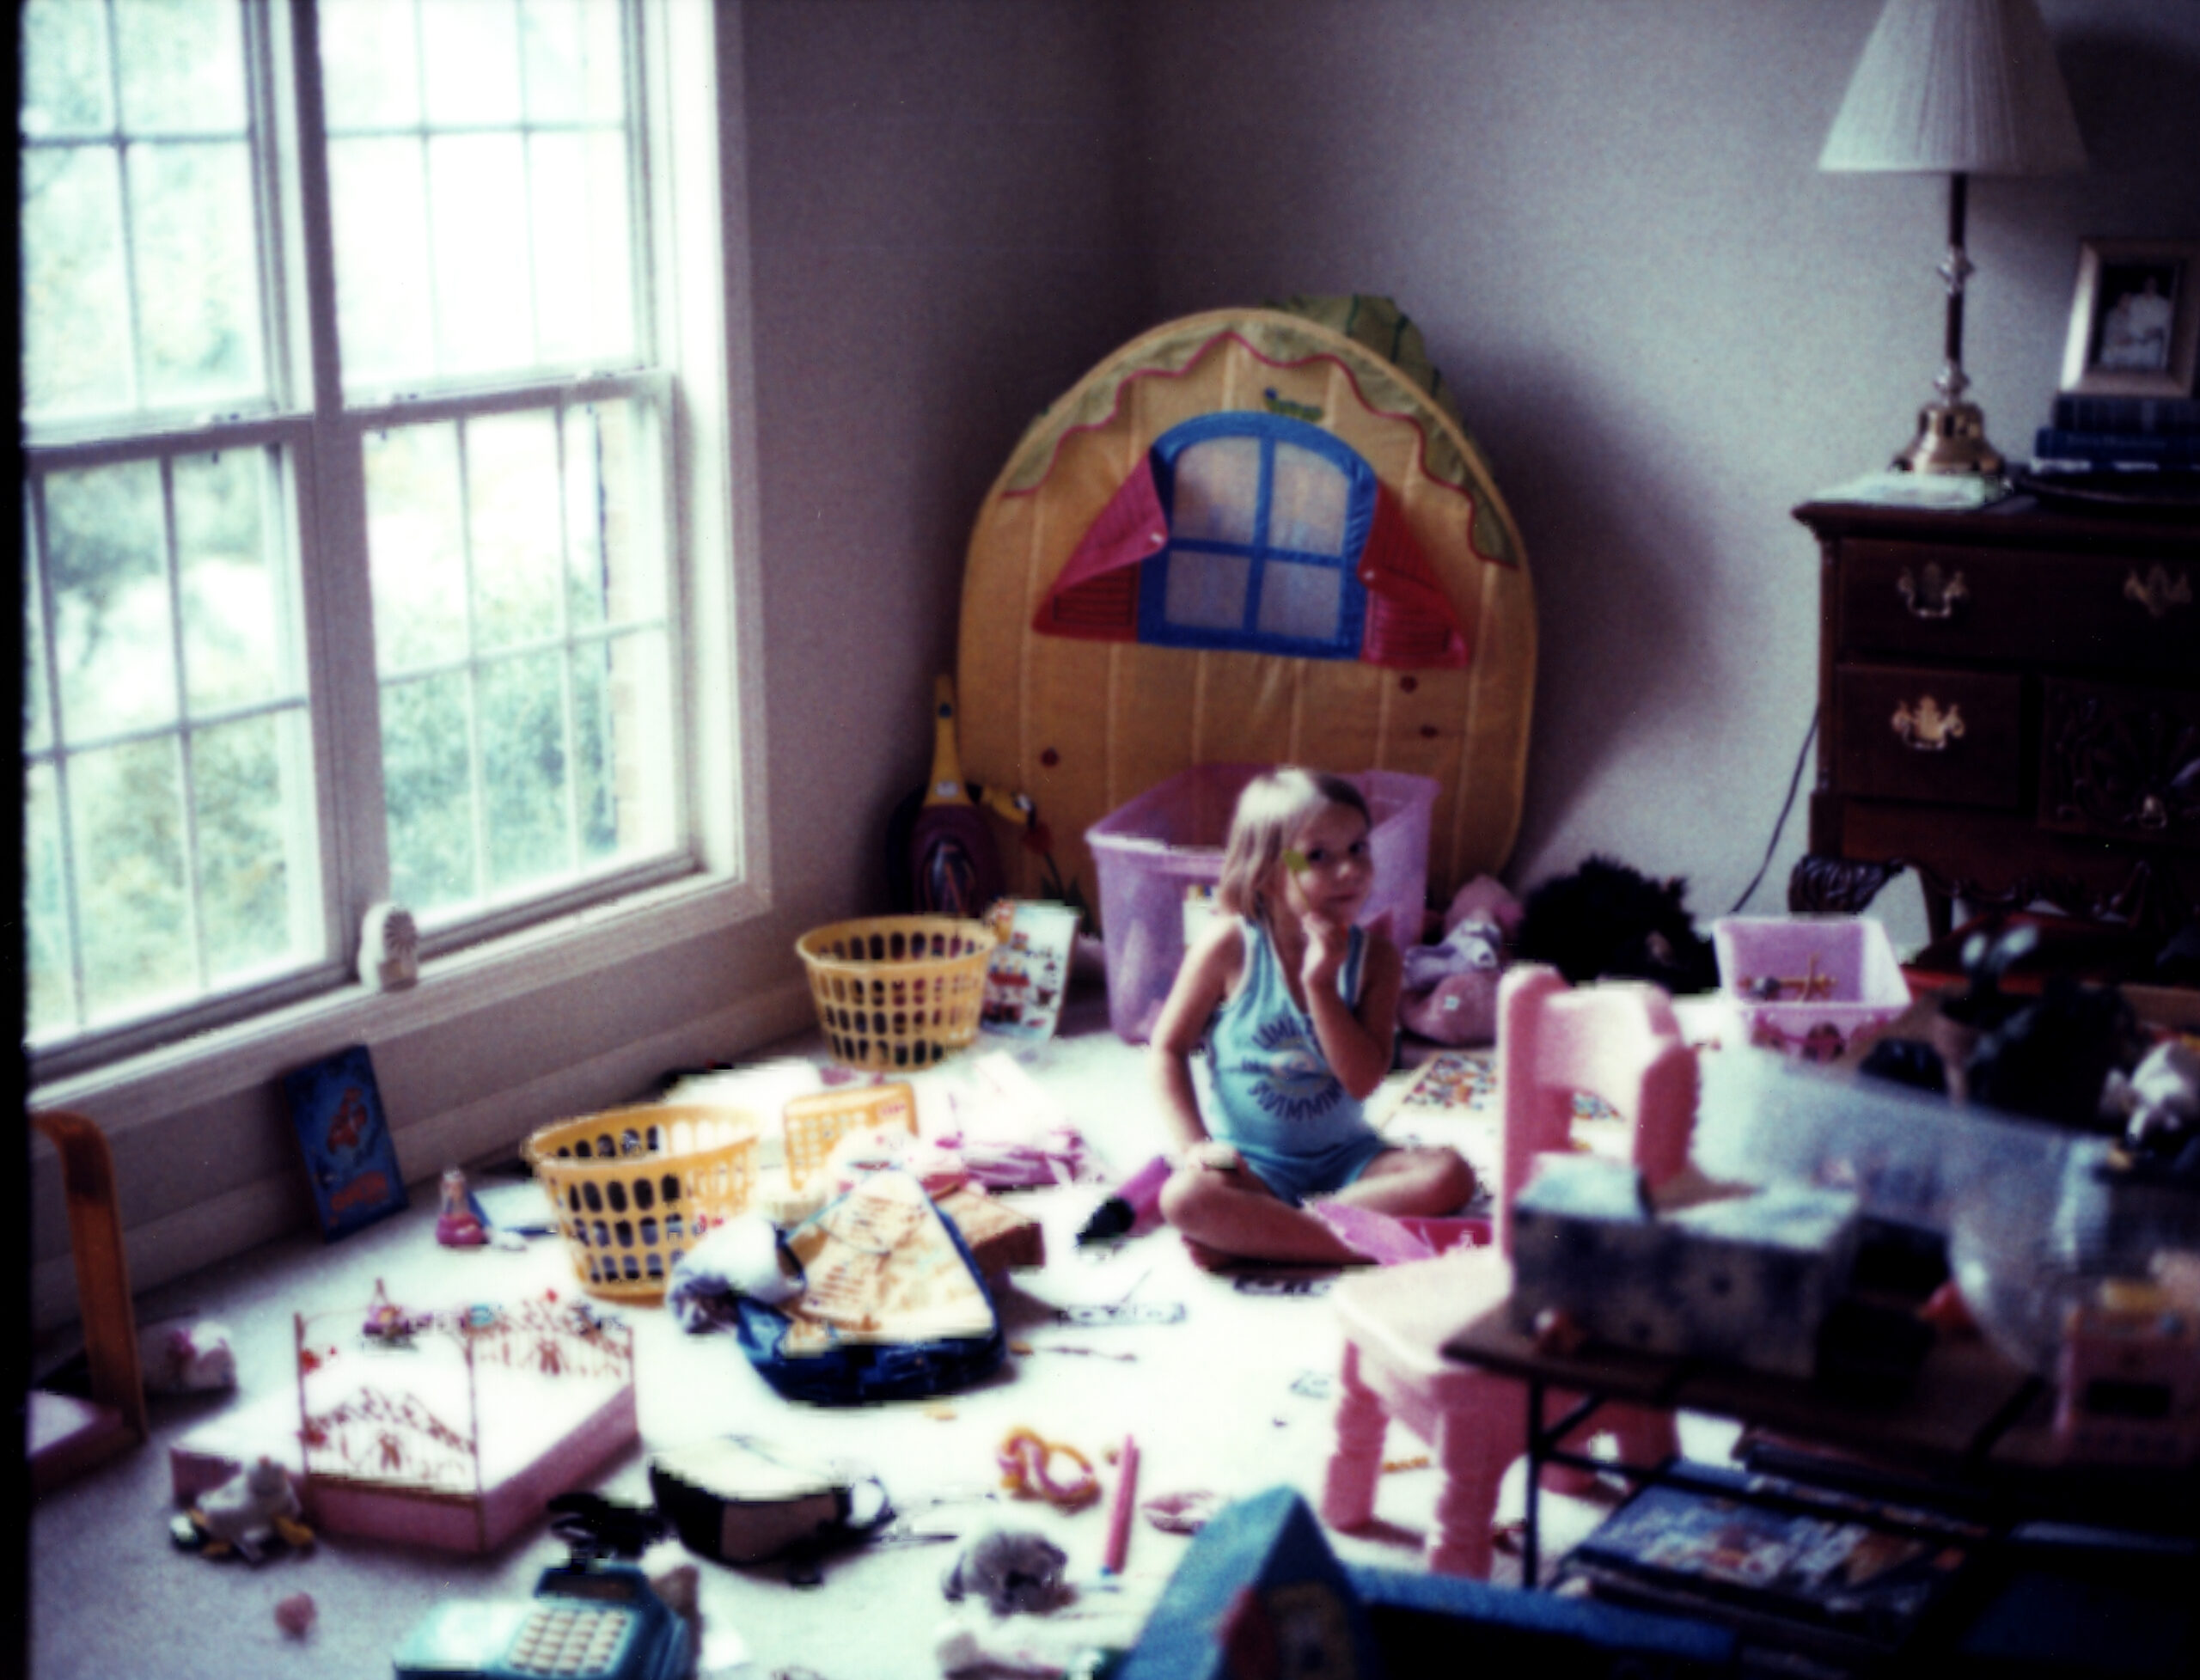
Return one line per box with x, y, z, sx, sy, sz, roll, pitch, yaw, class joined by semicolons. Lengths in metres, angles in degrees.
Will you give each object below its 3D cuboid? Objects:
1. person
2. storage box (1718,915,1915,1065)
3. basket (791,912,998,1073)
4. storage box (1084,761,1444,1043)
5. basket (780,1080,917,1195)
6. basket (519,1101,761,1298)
0.279;0.264;2.845;0.513;0.742;0.483;-6;8;-42;person
1.117;0.171;2.982;0.263;0.156;0.358;1;21;5;storage box
-0.382;0.285;3.592;0.371;0.235;0.384;-1;12;-10;basket
0.195;0.139;3.713;0.422;0.382;0.605;13;13;12;storage box
-0.403;0.470;3.036;0.180;0.137;0.127;-2;-3;-9;basket
-0.685;0.532;2.862;0.332;0.218;0.400;-2;13;-18;basket
